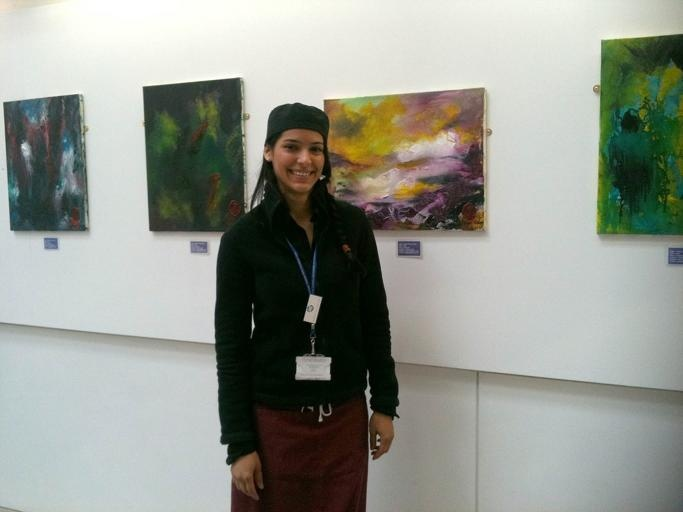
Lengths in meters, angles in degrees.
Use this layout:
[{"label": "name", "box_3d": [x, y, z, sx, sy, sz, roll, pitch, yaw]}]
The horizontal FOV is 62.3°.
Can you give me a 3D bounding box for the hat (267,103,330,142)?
[{"label": "hat", "box_3d": [-0.240, -0.746, 3.102, 0.236, 0.163, 0.241, -4, 5, -32]}]
